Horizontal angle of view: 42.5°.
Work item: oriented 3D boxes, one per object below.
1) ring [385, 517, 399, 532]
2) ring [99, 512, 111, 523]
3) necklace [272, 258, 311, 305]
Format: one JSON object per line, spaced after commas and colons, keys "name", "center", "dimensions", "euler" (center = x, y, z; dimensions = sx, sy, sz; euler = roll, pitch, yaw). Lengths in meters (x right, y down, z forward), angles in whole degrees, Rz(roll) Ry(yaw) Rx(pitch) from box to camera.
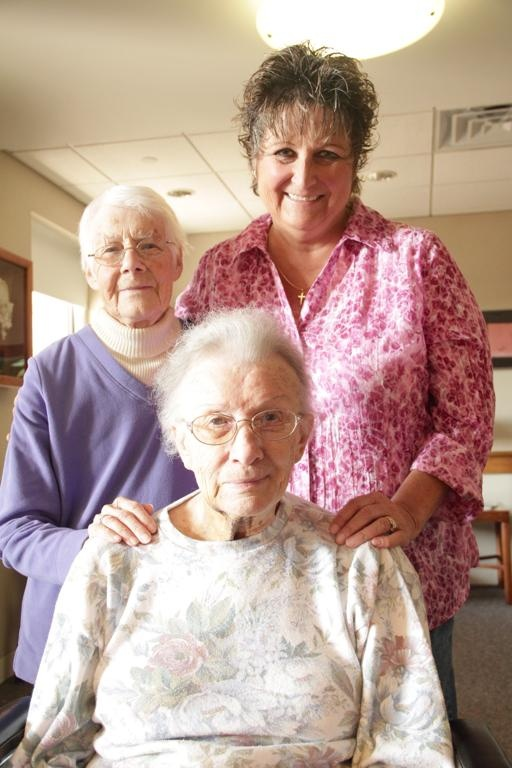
{"name": "ring", "center": [0.213, 0.219, 1.028], "dimensions": [0.012, 0.018, 0.020], "euler": [-11, -34, -9]}
{"name": "ring", "center": [-0.245, 0.216, 1.075], "dimensions": [0.014, 0.013, 0.013], "euler": [7, -13, 2]}
{"name": "necklace", "center": [0.086, -0.223, 1.441], "dimensions": [0.100, 0.055, 0.056], "euler": [46, 22, 5]}
